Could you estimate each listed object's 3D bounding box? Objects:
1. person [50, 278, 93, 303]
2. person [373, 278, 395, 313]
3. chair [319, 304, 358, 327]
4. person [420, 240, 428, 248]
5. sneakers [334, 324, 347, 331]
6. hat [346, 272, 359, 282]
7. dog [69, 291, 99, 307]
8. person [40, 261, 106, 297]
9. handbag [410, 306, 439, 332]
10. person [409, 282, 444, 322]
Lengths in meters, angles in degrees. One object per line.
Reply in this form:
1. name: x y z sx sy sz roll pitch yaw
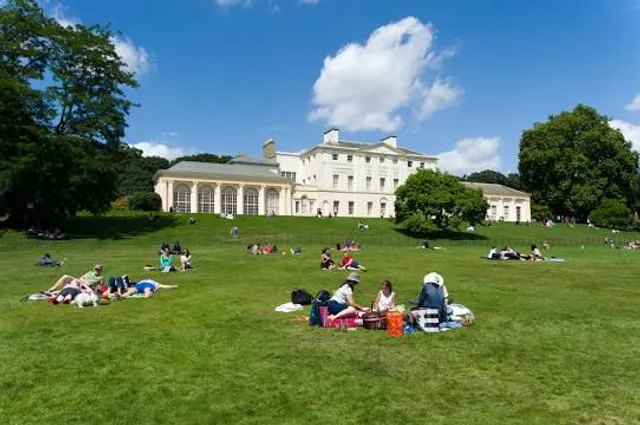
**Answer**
1. person: -10.307 3.144 21.126 1.174 0.570 1.472 23 -1 -9
2. person: 2.358 3.134 18.816 0.836 1.124 0.928 3 2 21
3. chair: 0.737 3.877 18.652 1.409 0.538 0.613 1 -2 2
4. person: 10.659 3.226 52.217 0.652 1.142 0.794 -1 -11 3
5. sneakers: 0.760 4.144 18.356 0.219 0.114 0.320 1 -6 -28
6. hat: 1.285 2.391 18.915 0.423 0.231 0.460 4 -1 36
7. dog: -9.321 3.465 20.232 0.957 0.496 0.543 3 -7 -7
8. person: -10.037 2.863 21.161 1.597 0.884 2.439 17 18 41
9. handbag: 3.762 3.824 18.350 1.046 0.846 0.369 1 -1 11
10. person: 3.963 3.362 18.824 1.437 1.332 0.763 5 -2 -2
